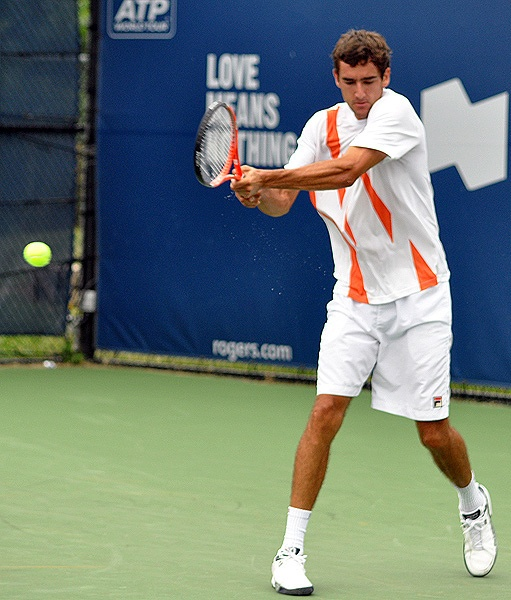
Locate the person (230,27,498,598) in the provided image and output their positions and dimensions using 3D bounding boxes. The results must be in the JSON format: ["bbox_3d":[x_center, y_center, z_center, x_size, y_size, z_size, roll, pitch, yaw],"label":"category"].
[{"bbox_3d":[0.339,0.032,2.386,0.843,1.570,0.518,1,3,-9],"label":"person"}]

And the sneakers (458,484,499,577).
[{"bbox_3d":[0.678,0.694,2.482,0.066,0.246,0.089,-10,-30,21],"label":"sneakers"}]

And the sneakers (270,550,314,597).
[{"bbox_3d":[0.099,0.721,2.180,0.110,0.106,0.111,2,4,1],"label":"sneakers"}]
